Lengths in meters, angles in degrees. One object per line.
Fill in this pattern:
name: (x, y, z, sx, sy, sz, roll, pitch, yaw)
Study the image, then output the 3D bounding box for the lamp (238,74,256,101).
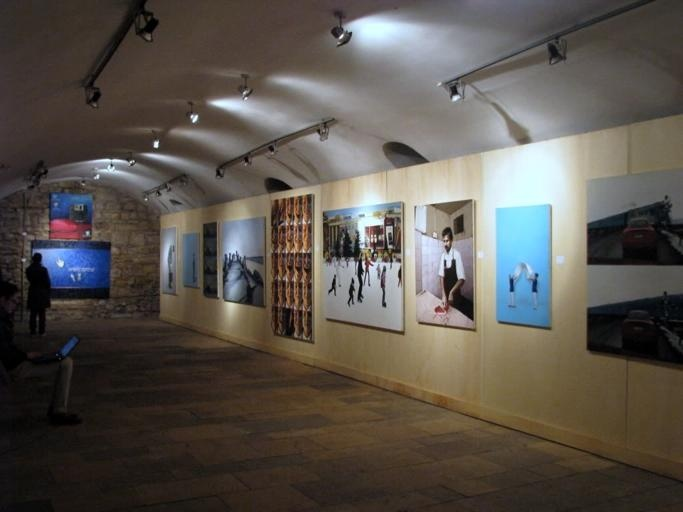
lamp: (-1.338, -2.378, 6.510, 0.225, 0.364, 0.241, -3, -7, -10)

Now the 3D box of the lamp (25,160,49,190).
lamp: (-8.167, -2.172, 12.235, 0.290, 0.339, 1.124, 6, -16, -32)

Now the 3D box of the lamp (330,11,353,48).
lamp: (-0.036, -2.439, 4.818, 0.169, 0.216, 0.325, 7, -13, 12)

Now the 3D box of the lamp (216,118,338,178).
lamp: (-1.405, -2.030, 8.946, 0.416, 0.322, 4.408, 1, -1, -37)
